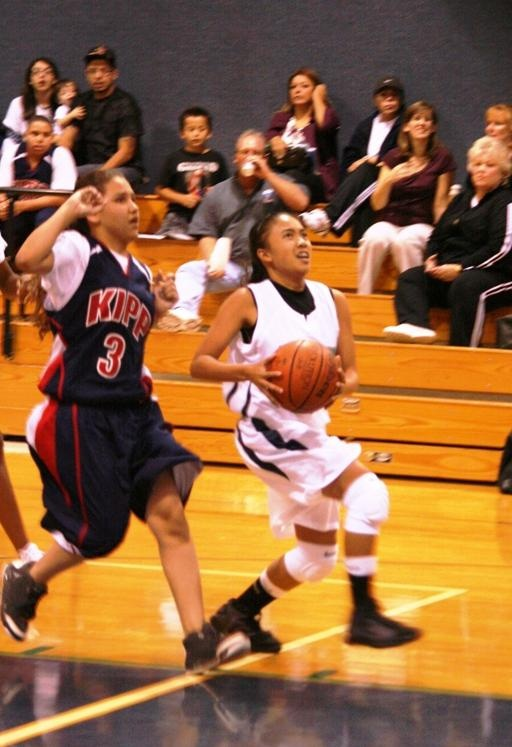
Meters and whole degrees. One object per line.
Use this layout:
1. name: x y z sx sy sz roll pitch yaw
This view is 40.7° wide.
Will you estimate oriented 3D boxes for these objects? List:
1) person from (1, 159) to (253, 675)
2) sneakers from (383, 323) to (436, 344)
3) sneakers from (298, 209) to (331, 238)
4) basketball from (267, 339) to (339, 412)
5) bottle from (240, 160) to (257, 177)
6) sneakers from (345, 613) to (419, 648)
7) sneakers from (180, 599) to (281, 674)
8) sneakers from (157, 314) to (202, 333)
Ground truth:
1. person: -0.324 0.079 1.665 0.657 1.200 0.438 1 -3 5
2. sneakers: 0.782 -0.205 3.531 0.282 0.093 0.114 12 11 -1
3. sneakers: 0.378 -0.941 4.313 0.139 0.155 0.180 28 23 25
4. basketball: 0.137 0.020 1.717 0.173 0.165 0.177 10 -7 20
5. bottle: -0.040 -1.067 3.583 0.072 0.063 0.067 2 23 4
6. sneakers: 0.295 0.604 1.636 0.149 0.056 0.079 -2 7 12
7. sneakers: -0.074 0.621 1.636 0.106 0.137 0.306 0 7 38
8. sneakers: -0.383 -0.255 3.476 0.227 0.085 0.373 -1 -1 -1
